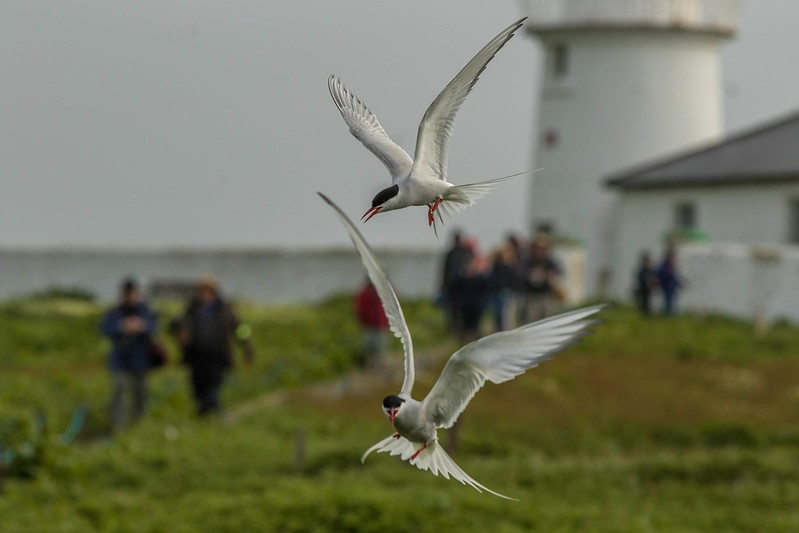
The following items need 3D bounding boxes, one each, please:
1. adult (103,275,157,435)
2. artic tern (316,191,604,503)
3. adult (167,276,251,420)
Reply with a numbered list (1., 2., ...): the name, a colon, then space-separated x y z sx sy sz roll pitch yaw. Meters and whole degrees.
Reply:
1. adult: -2.429 0.825 14.753 0.471 1.395 0.560 -1 6 -10
2. artic tern: 0.401 0.715 11.228 2.195 1.521 1.166 19 5 -24
3. adult: -1.747 0.715 14.753 0.605 1.136 0.586 -1 6 -7
